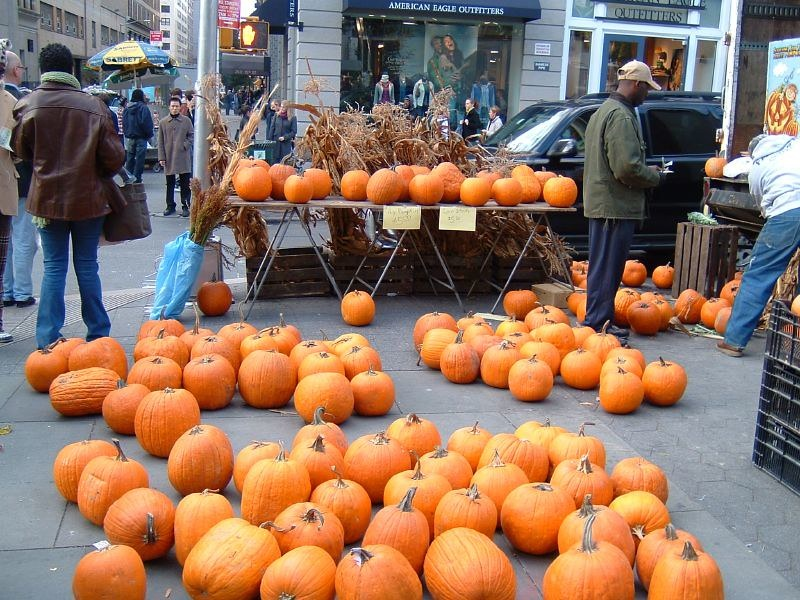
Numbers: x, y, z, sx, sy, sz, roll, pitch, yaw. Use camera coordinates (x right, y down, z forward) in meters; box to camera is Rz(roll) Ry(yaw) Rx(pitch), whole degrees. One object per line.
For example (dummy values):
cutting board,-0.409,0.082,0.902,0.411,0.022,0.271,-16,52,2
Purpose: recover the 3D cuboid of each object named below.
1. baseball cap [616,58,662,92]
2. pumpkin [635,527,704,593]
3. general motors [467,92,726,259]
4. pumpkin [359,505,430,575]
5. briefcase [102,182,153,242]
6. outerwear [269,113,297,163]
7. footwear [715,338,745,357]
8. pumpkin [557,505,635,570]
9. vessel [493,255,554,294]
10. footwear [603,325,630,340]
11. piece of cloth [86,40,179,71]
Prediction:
baseball cap,2.498,-2.272,6.520,0.559,0.372,0.364,-4,17,-15
pumpkin,1.188,1.125,2.870,0.282,0.329,0.304,-2,7,16
general motors,3.528,-2.116,10.422,3.809,2.386,2.344,1,6,-9
pumpkin,-0.003,1.050,2.948,0.271,0.345,0.278,14,5,-26
briefcase,-2.535,-0.799,5.909,0.448,0.505,0.269,-2,5,19
outerwear,-2.872,-4.047,15.619,0.596,1.245,1.046,-2,14,-11
footwear,3.170,0.452,6.094,0.101,0.114,0.268,-2,14,-11
pumpkin,0.923,1.017,3.019,0.300,0.335,0.306,1,6,42
vessel,1.571,-0.356,8.197,0.601,0.400,0.436,0,6,-7
footwear,2.125,0.325,6.249,0.148,0.164,0.355,-4,7,-28
piece of cloth,-7.335,-6.479,17.009,1.421,0.489,1.559,-1,29,4
